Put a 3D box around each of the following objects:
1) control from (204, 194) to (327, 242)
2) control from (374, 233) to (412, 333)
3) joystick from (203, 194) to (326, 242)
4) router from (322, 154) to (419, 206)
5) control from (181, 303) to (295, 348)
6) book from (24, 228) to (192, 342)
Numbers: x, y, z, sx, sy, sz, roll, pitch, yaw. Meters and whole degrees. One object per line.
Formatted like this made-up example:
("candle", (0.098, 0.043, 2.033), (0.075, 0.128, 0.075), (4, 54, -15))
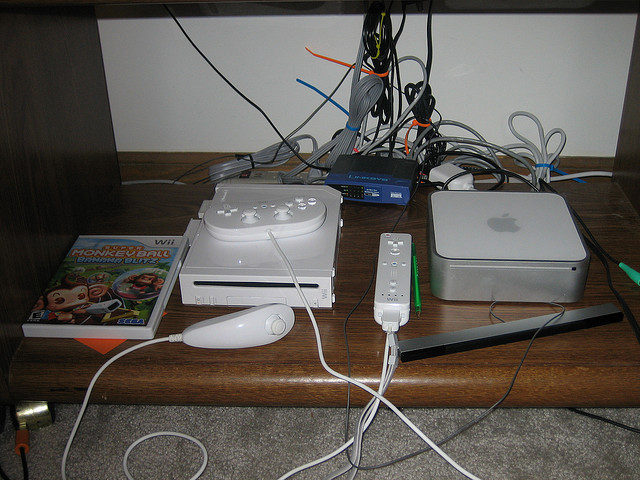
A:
("control", (-0.102, -0.045, 0.956), (0.210, 0.054, 0.136), (-8, 25, -18))
("control", (0.123, 0.064, 0.900), (0.063, 0.055, 0.194), (4, 44, 8))
("joystick", (-0.095, -0.038, 0.936), (0.200, 0.039, 0.083), (-5, 40, -1))
("router", (0.109, -0.125, 1.139), (0.172, 0.053, 0.166), (9, 29, 19))
("control", (-0.124, 0.141, 0.817), (0.198, 0.039, 0.077), (-11, 32, 1))
("book", (-0.367, 0.064, 0.944), (0.240, 0.094, 0.308), (1, 24, 2))
